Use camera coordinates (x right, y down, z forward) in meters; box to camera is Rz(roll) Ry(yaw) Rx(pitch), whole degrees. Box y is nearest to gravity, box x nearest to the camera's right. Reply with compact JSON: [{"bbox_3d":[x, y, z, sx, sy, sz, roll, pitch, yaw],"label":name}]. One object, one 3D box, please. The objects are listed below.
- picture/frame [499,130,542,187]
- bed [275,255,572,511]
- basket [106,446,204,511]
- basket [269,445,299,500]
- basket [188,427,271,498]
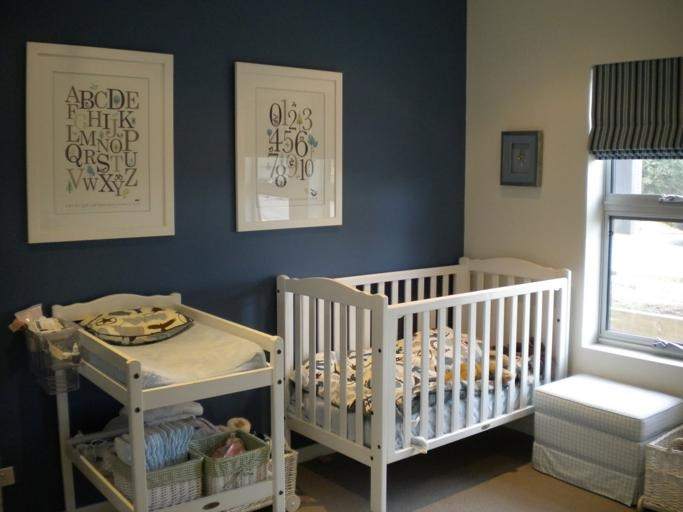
[{"bbox_3d":[1.231,-0.671,3.919,0.064,0.503,0.366,3,-4,-38],"label":"picture/frame"},{"bbox_3d":[0.563,0.435,3.734,1.906,1.303,1.084,-10,13,-42],"label":"bed"},{"bbox_3d":[-0.789,0.948,2.522,0.285,0.132,0.203,1,-2,-37],"label":"basket"},{"bbox_3d":[-0.338,1.188,3.163,0.173,0.232,0.206,1,-36,-27],"label":"basket"},{"bbox_3d":[-0.531,0.940,2.699,0.239,0.160,0.240,-1,1,-35],"label":"basket"}]
